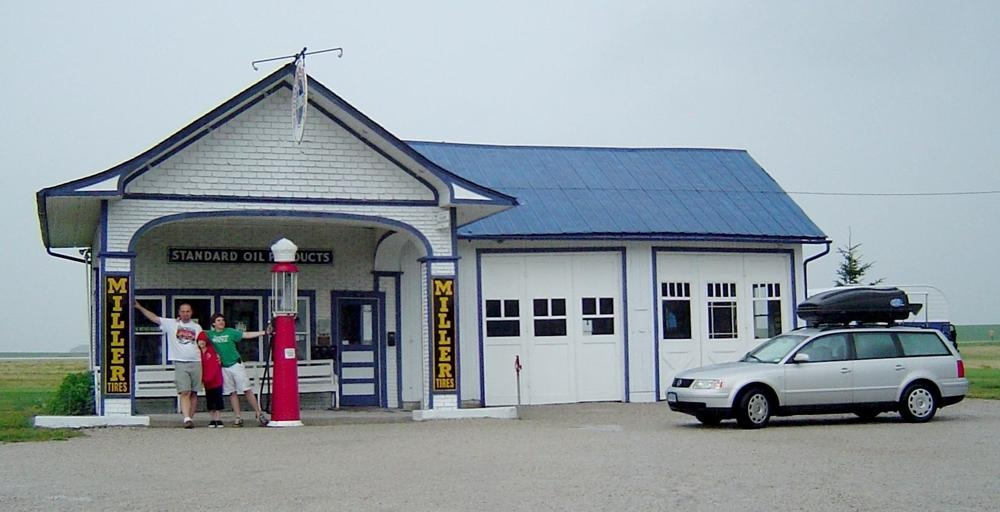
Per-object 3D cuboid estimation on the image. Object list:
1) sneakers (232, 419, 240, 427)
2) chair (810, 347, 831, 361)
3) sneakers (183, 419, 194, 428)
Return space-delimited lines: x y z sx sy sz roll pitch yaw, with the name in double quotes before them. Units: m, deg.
"sneakers" -6.943 4.447 30.227 0.235 0.202 0.159 6 -7 -18
"chair" 8.455 2.598 29.878 0.415 0.352 0.377 3 0 10
"sneakers" -8.065 4.368 29.624 0.149 0.140 0.329 1 -10 -21
